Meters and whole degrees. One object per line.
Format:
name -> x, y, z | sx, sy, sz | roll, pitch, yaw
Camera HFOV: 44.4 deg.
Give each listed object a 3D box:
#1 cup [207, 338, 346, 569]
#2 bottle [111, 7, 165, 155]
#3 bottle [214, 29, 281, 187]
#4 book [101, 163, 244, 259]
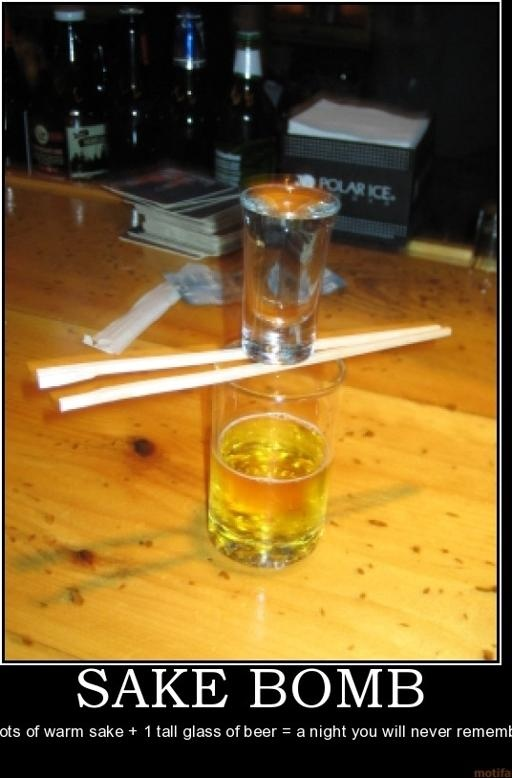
cup -> 0.007, 0.056, 0.524 | 0.113, 0.158, 0.135 | 7, 37, 8
bottle -> -0.297, -0.765, 1.532 | 0.116, 0.272, 0.524 | -5, 37, -7
bottle -> -0.016, -0.566, 1.267 | 0.134, 0.247, 0.250 | 1, 37, 0
book -> -0.151, -0.339, 1.168 | 0.210, 0.072, 0.199 | 14, 48, 11
